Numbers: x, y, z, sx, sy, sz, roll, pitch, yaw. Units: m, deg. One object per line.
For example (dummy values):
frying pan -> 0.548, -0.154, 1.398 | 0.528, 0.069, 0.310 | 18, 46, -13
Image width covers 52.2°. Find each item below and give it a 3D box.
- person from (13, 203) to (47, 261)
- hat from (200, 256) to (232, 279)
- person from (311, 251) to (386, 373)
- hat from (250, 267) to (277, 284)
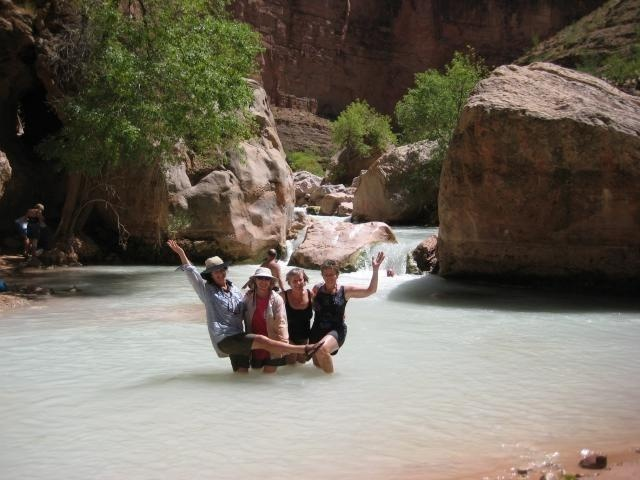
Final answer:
person -> -7.799, -0.240, 17.751 | 0.634, 1.517, 2.768 | -5, 10, -23
hat -> -1.250, 0.374, 7.788 | 0.294, 0.156, 0.290 | -25, -6, -26
person -> 0.460, 1.097, 9.632 | 1.233, 1.797, 0.847 | 4, -13, 17
hat -> -0.697, 0.463, 8.335 | 0.328, 0.135, 0.417 | 1, -16, 1
